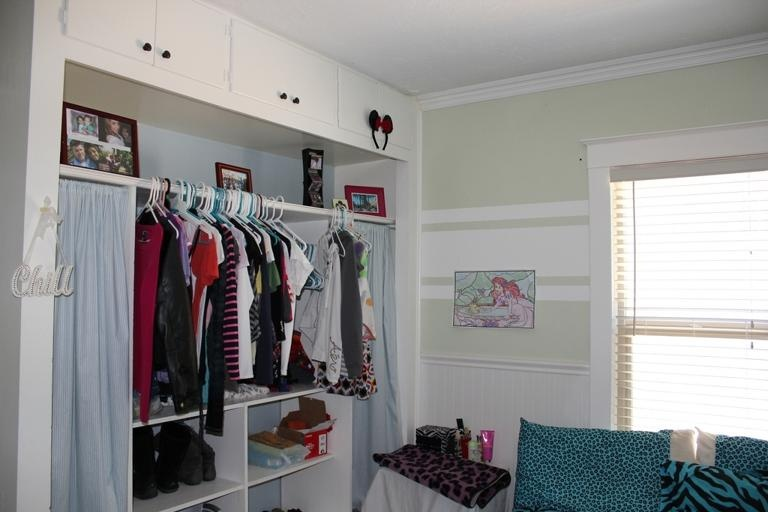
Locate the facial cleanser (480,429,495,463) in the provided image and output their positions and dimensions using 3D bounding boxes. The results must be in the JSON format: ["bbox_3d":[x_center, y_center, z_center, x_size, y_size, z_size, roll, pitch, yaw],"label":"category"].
[{"bbox_3d":[0.747,1.388,3.769,0.099,0.212,0.072,2,-2,5],"label":"facial cleanser"}]

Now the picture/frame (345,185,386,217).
[{"bbox_3d":[-0.157,-0.424,4.033,0.272,0.205,0.027,1,-14,-38],"label":"picture/frame"}]

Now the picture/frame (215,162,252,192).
[{"bbox_3d":[-1.024,-0.525,3.469,0.028,0.243,0.288,-11,-11,38],"label":"picture/frame"}]

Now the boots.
[{"bbox_3d":[-1.239,1.206,3.024,0.422,0.377,0.341,7,0,30],"label":"boots"}]

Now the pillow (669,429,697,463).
[{"bbox_3d":[1.699,1.066,2.909,0.137,0.148,0.063,-4,-28,17],"label":"pillow"}]

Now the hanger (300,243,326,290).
[{"bbox_3d":[-0.479,0.082,3.545,0.210,0.285,0.091,7,-10,-41],"label":"hanger"}]

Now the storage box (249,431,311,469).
[{"bbox_3d":[-0.775,1.345,3.614,0.373,0.133,0.473,0,-1,-29],"label":"storage box"}]

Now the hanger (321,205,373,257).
[{"bbox_3d":[-0.281,-0.172,3.717,0.096,0.232,0.387,-1,1,-41],"label":"hanger"}]

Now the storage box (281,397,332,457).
[{"bbox_3d":[-0.583,1.226,3.692,0.437,0.332,0.245,0,-2,37],"label":"storage box"}]

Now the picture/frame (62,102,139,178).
[{"bbox_3d":[-1.514,-0.600,2.728,0.460,0.401,0.035,10,-21,-41],"label":"picture/frame"}]
